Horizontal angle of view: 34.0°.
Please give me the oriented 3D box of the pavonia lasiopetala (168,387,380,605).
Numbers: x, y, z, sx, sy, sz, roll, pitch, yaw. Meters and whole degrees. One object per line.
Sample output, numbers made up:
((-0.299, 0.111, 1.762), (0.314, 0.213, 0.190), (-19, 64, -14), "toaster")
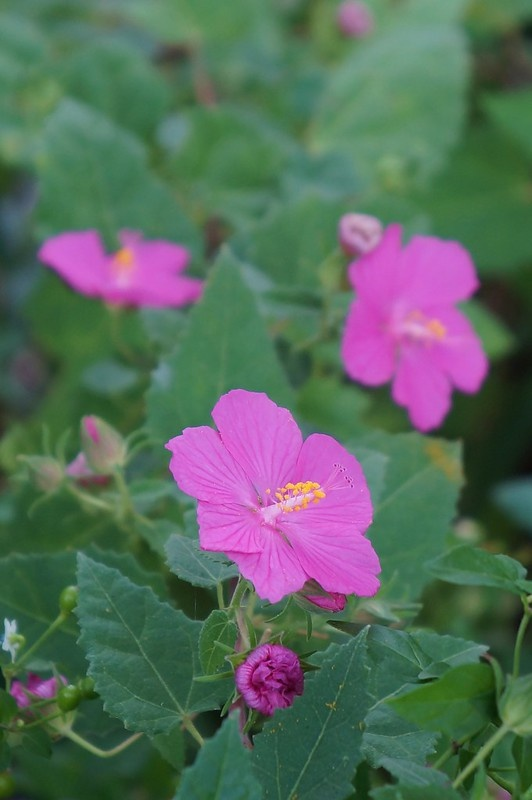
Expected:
((0.007, 0.043, 0.401), (0.087, 0.041, 0.109), (-16, 58, -9), "pavonia lasiopetala")
